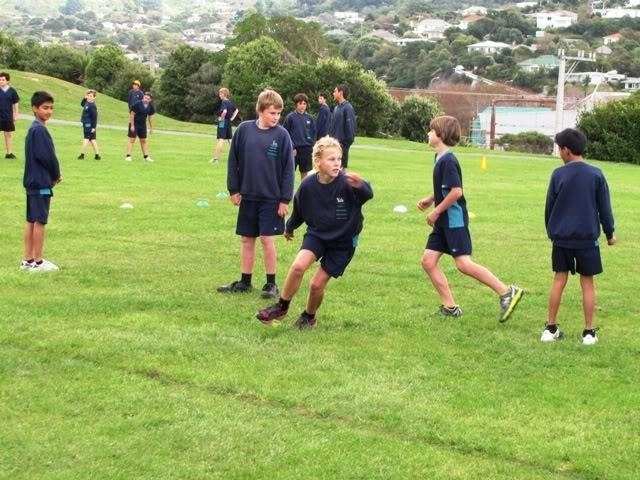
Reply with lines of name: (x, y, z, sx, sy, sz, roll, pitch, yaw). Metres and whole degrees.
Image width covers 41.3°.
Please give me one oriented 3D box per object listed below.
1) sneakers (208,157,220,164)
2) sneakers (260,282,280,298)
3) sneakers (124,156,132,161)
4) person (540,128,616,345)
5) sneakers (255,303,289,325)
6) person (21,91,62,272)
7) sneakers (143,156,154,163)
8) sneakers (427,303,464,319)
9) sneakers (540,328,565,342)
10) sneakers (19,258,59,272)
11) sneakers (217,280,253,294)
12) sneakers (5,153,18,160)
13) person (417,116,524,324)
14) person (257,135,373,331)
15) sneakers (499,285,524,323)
sneakers: (-2.909, -2.157, 23.224, 0.152, 0.149, 0.354, 6, 9, -11)
sneakers: (-0.650, 0.671, 11.009, 0.185, 0.172, 0.384, 0, -2, 4)
sneakers: (-4.946, -2.082, 21.923, 0.094, 0.118, 0.273, -2, -4, -19)
person: (2.960, -0.029, 9.713, 0.769, 2.460, 0.337, 5, 6, 13)
sneakers: (-0.572, 0.869, 10.052, 0.373, 0.229, 0.204, 6, 12, -12)
person: (-3.836, -0.804, 11.654, 0.492, 2.444, 0.418, 1, 7, -20)
sneakers: (-4.569, -2.117, 22.435, 0.398, 0.181, 0.151, 5, 13, 37)
sneakers: (1.536, 0.899, 10.465, 0.361, 0.164, 0.124, 1, 6, 9)
sneakers: (2.698, 1.111, 9.858, 0.109, 0.128, 0.306, 7, 12, 41)
sneakers: (-3.862, 0.351, 11.690, 0.518, 0.217, 0.190, 0, 2, -2)
sneakers: (-1.125, 0.634, 11.131, 0.441, 0.187, 0.167, 4, -2, -4)
sneakers: (-7.607, -2.030, 20.688, 0.108, 0.125, 0.308, -4, 3, -41)
person: (1.743, -0.254, 10.290, 1.097, 2.427, 0.528, 4, 6, 9)
person: (0.023, -0.040, 9.734, 1.114, 2.227, 0.515, 4, 6, 10)
sneakers: (2.261, 0.752, 10.186, 0.237, 0.527, 0.193, 25, -3, -1)
